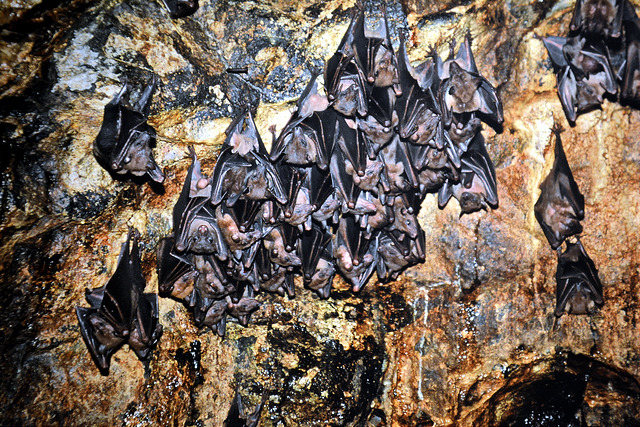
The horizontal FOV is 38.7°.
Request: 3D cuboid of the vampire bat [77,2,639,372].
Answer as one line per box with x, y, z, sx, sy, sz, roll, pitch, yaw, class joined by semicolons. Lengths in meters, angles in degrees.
0.546;-0.583;12.464;4.487;2.962;0.768;-14;27;-7;vampire bat
